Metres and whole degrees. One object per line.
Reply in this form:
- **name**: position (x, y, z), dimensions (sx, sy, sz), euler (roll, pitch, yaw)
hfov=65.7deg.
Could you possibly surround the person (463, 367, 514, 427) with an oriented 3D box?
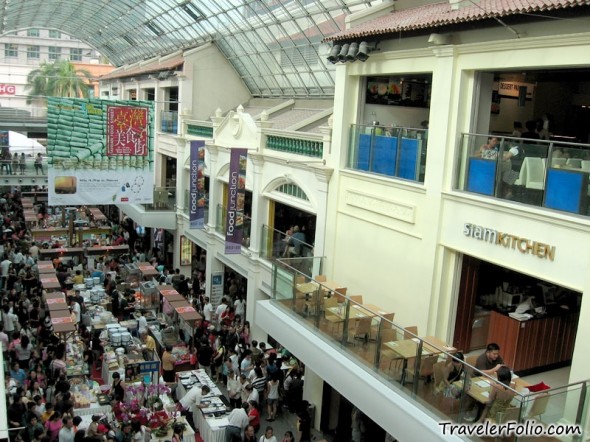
- **person**: position (3.366, 3.086, 7.859), dimensions (0.612, 0.921, 0.649), euler (7, 10, 22)

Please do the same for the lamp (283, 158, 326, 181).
- **lamp**: position (0.358, -1.730, 15.619), dimensions (0.493, 0.819, 2.974), euler (-1, 10, -23)

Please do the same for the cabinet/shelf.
- **cabinet/shelf**: position (5.667, 3.010, 11.740), dimensions (1.978, 1.338, 1.022), euler (6, 7, -39)

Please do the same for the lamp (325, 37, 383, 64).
- **lamp**: position (1.740, -4.886, 13.061), dimensions (0.449, 0.369, 1.028), euler (17, -6, -36)

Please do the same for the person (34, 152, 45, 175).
- **person**: position (-16.874, -3.660, 30.081), dimensions (0.370, 1.039, 0.608), euler (9, 11, 33)

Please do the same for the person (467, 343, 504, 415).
- **person**: position (3.758, 3.173, 9.074), dimensions (0.624, 1.563, 0.563), euler (-4, 11, -35)

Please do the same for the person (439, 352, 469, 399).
- **person**: position (2.905, 2.909, 8.460), dimensions (0.176, 0.809, 0.607), euler (0, 10, -18)
